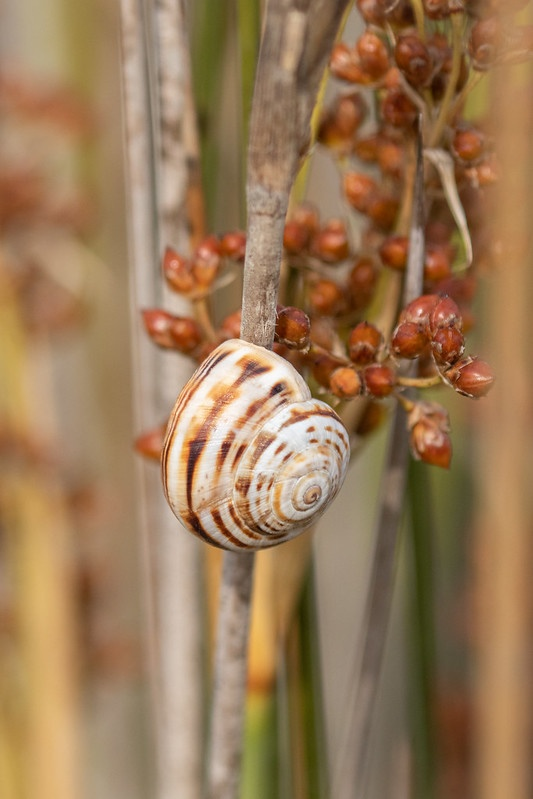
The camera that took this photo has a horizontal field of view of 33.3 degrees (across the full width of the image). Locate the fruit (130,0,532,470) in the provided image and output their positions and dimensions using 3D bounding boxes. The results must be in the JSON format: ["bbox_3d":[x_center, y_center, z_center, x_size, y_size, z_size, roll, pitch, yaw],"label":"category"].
[{"bbox_3d":[0.098,-0.142,0.773,0.258,0.172,0.380,14,81,29],"label":"fruit"}]
